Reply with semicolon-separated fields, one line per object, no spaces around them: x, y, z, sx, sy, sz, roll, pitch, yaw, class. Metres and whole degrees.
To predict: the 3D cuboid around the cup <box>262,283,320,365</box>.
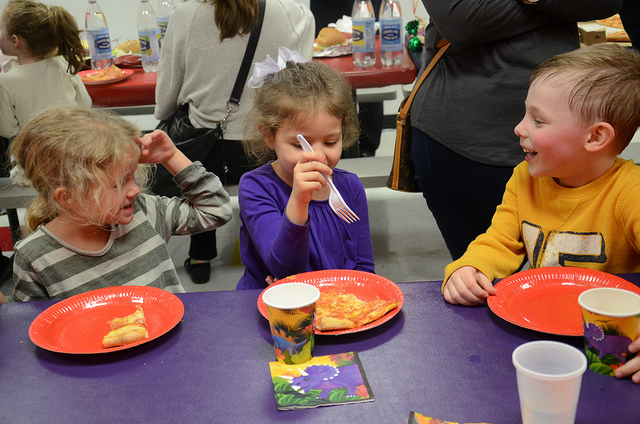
-0.065;0.276;1.238;0.137;0.173;0.124;-8;28;-6;cup

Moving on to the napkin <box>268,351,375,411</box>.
0.000;0.387;1.178;0.244;0.309;0.012;6;47;-12;napkin

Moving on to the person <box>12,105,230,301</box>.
-0.718;-0.017;1.762;0.775;0.690;0.317;-14;30;-18;person

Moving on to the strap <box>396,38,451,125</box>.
0.431;-0.542;2.101;0.209;0.343;0.068;-3;28;3;strap

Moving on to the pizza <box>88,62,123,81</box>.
-1.494;-0.957;3.422;0.211;0.054;0.355;-17;31;-23;pizza
